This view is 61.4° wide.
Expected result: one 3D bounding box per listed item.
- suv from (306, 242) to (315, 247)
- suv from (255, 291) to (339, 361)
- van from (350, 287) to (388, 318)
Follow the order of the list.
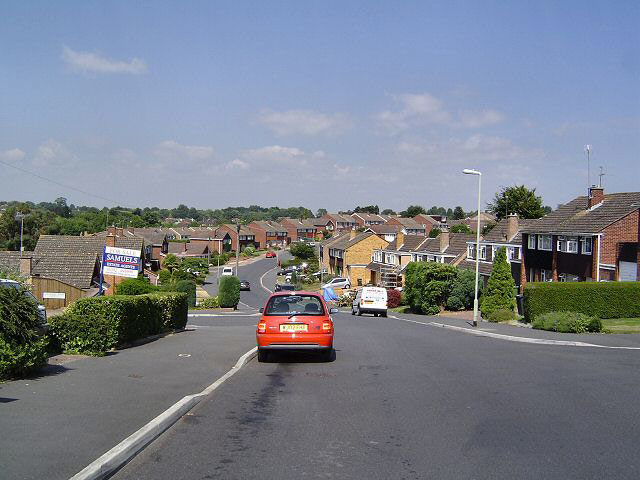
[{"bbox_3d":[-2.131,0.898,135.667,1.356,0.915,2.259,0,-9,-6],"label":"suv"},{"bbox_3d":[-0.682,2.222,14.261,1.355,1.069,2.461,0,3,0],"label":"suv"},{"bbox_3d":[3.981,4.705,42.964,1.693,1.436,2.968,0,2,-6],"label":"van"}]
